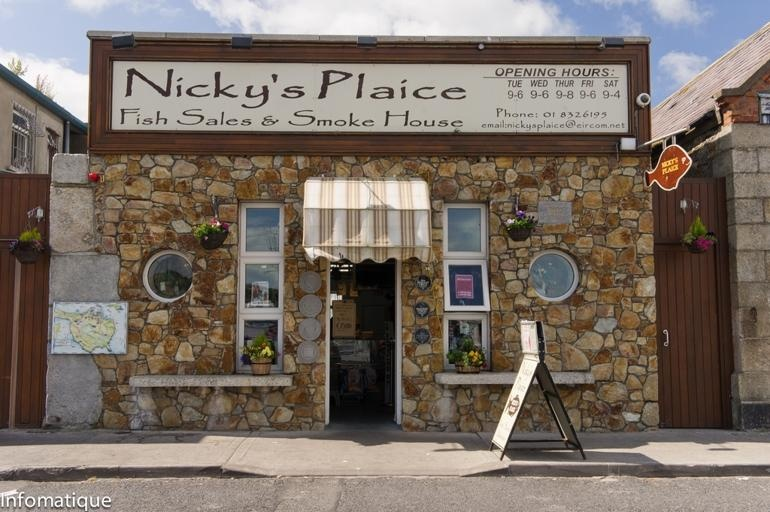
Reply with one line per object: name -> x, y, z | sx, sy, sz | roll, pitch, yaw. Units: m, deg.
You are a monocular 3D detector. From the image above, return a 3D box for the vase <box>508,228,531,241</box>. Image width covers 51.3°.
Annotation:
vase -> 3.001, -0.479, 17.824 | 0.398, 0.198, 0.274 | 4, -6, 0

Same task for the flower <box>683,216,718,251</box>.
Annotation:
flower -> 7.081, -0.523, 17.957 | 0.786, 0.847, 0.792 | 4, -4, -5

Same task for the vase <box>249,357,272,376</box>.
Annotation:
vase -> -2.652, 2.392, 17.410 | 0.405, 0.255, 0.391 | 4, -8, -18

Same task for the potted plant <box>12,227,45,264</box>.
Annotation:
potted plant -> -7.788, -0.234, 17.542 | 0.667, 0.718, 0.326 | 2, -5, -18

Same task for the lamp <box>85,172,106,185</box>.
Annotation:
lamp -> -6.378, -1.738, 17.760 | 0.289, 0.279, 0.105 | 5, -8, -20

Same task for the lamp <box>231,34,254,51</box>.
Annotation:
lamp -> -3.161, -4.783, 17.925 | 0.462, 0.289, 0.113 | 0, -5, 5

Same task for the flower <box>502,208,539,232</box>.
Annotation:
flower -> 3.067, -0.770, 17.791 | 0.567, 0.367, 0.521 | 3, -3, -31

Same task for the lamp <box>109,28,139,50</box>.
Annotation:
lamp -> -5.795, -4.806, 17.834 | 0.564, 0.363, 0.179 | 0, -5, 0

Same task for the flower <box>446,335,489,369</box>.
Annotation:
flower -> 1.842, 2.061, 17.653 | 0.758, 0.715, 0.505 | -2, 1, 10

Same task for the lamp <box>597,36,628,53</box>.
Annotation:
lamp -> 5.155, -4.799, 18.111 | 0.611, 0.258, 0.215 | 1, -5, -15

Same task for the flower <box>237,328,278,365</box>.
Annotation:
flower -> -2.766, 1.980, 17.691 | 0.776, 0.737, 0.682 | 2, -13, -15

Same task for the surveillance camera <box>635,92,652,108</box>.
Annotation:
surveillance camera -> 5.821, -3.529, 18.039 | 0.304, 0.342, 0.189 | 0, -5, 6
